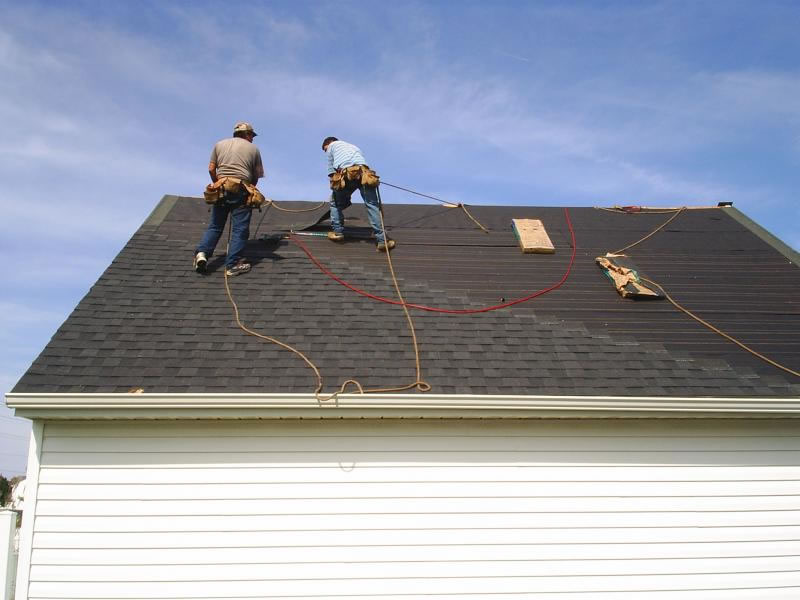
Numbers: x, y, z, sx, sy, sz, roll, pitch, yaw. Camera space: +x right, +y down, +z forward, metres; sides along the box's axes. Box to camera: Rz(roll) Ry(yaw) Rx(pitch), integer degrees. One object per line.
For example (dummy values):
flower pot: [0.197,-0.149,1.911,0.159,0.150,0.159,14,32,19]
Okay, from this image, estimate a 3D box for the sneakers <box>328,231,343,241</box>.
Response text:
sneakers: [-1.035,-1.026,11.574,0.247,0.210,0.125,-2,-26,2]

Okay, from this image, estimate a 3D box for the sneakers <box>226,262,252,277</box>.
sneakers: [-2.357,-0.448,10.584,0.411,0.136,0.155,-15,24,-37]

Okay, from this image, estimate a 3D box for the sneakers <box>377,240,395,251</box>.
sneakers: [-0.224,-0.866,11.450,0.249,0.111,0.225,1,-9,-15]

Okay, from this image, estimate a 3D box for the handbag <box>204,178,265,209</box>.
handbag: [-2.441,-1.603,10.795,0.882,0.419,0.427,3,-23,-11]
